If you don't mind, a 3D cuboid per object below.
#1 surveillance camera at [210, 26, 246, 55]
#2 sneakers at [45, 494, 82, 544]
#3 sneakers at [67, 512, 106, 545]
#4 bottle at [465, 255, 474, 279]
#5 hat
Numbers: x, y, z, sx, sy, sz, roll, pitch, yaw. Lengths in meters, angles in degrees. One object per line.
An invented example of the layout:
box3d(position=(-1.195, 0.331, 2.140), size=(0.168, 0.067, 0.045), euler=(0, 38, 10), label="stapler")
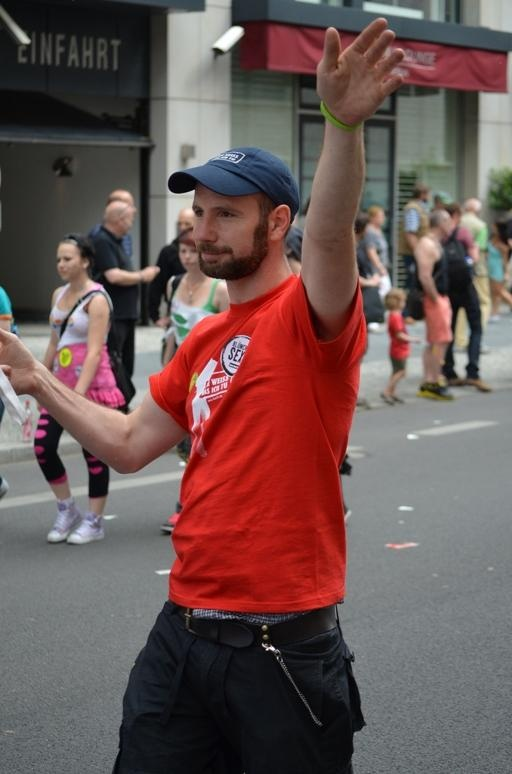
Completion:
box3d(position=(-0.519, -6.316, 14.665), size=(0.406, 0.231, 0.772), euler=(24, 66, 36), label="surveillance camera")
box3d(position=(-1.251, 0.875, 5.247), size=(0.120, 0.230, 0.352), euler=(-8, 16, 26), label="sneakers")
box3d(position=(-1.081, 0.925, 5.162), size=(0.117, 0.200, 0.309), euler=(-4, -3, 41), label="sneakers")
box3d(position=(2.784, -1.557, 10.479), size=(0.102, 0.285, 0.212), euler=(-3, 5, 27), label="bottle")
box3d(position=(-0.026, -0.357, 1.445), size=(0.211, 0.104, 0.134), euler=(19, 1, -23), label="hat")
